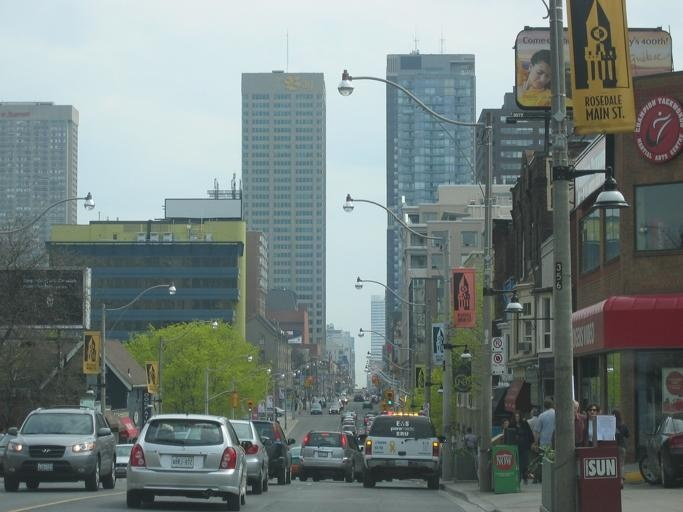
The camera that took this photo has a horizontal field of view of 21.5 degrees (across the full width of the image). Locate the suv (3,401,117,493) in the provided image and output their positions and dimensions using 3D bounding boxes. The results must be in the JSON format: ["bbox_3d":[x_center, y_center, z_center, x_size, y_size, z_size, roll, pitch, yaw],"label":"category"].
[{"bbox_3d":[-11.599,7.846,74.117,4.492,3.435,2.316,1,-6,-18],"label":"suv"}]
